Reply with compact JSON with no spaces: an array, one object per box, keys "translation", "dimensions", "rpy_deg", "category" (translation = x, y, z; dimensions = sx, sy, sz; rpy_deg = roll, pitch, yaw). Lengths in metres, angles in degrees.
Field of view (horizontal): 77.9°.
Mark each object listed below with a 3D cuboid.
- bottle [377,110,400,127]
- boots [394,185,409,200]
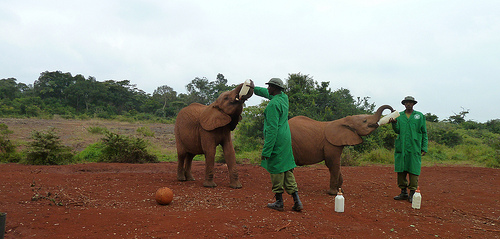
[{"translation":[6.374,-0.054,14.296],"dimensions":[0.458,0.444,1.494],"rpy_deg":[-25,-4,-22],"category":"bottle"},{"translation":[7.243,3.613,14.963],"dimensions":[0.874,0.706,0.398],"rpy_deg":[1,0,-7],"category":"boots"}]
